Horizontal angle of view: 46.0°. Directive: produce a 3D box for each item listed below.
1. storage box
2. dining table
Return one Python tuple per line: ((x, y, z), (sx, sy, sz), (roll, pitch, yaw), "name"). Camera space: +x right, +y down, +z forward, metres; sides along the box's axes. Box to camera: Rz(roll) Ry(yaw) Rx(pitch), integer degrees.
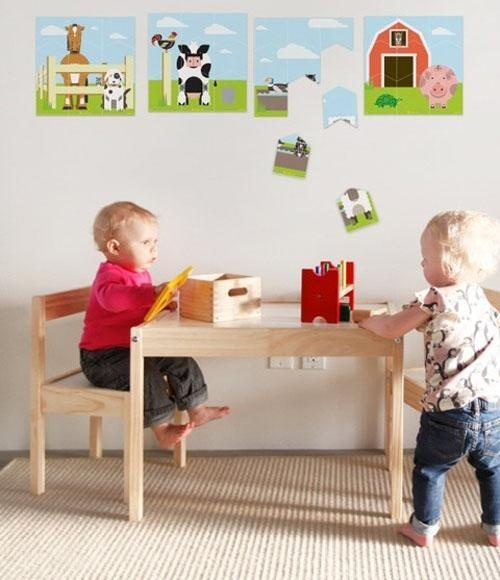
((-0.080, 0.026, 1.701), (0.180, 0.091, 0.171), (-7, 12, -34), "storage box")
((0.092, 0.387, 1.722), (0.916, 0.518, 0.485), (2, -12, -6), "dining table")
